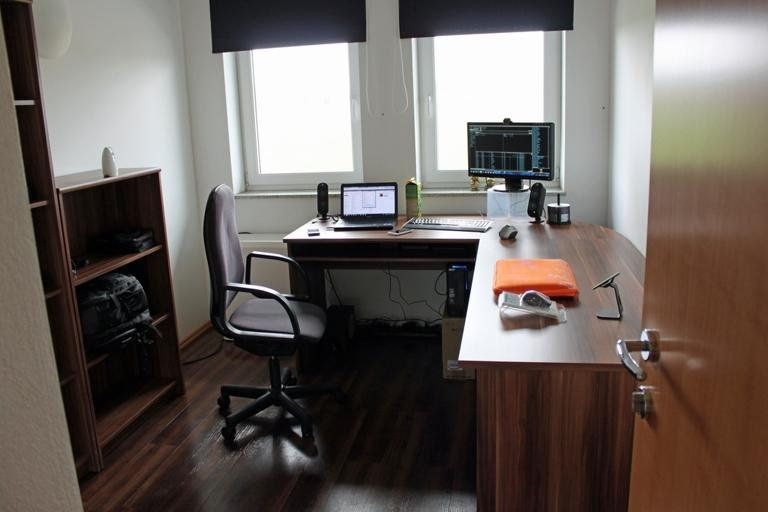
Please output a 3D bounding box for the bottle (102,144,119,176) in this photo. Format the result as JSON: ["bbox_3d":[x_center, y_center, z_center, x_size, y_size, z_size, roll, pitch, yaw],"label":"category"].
[{"bbox_3d":[-1.558,-0.530,3.089,0.073,0.159,0.217,-10,17,-25],"label":"bottle"}]

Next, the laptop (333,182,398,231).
[{"bbox_3d":[-0.114,-0.366,3.997,0.429,0.367,0.319,0,3,3],"label":"laptop"}]

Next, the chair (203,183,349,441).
[{"bbox_3d":[-0.693,0.405,3.582,0.927,1.880,1.075,3,15,4],"label":"chair"}]
